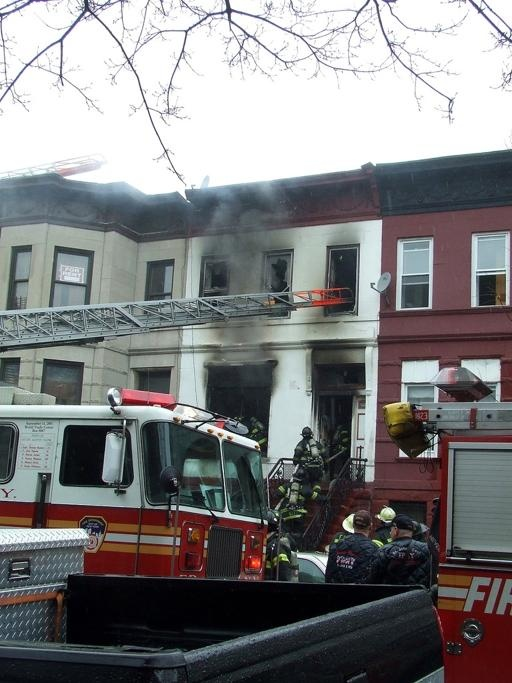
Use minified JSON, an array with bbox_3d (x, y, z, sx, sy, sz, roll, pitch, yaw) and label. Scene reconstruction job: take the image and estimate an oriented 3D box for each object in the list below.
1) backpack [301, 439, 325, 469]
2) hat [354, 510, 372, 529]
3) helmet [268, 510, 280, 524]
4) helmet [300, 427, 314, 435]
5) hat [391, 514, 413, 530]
[{"bbox_3d":[1.096,2.369,14.070,0.492,0.623,0.612,3,-9,-9],"label":"backpack"},{"bbox_3d":[0.934,1.528,5.819,0.144,0.189,0.189,3,-45,11],"label":"hat"},{"bbox_3d":[0.210,2.217,8.375,0.161,0.076,0.213,8,11,3],"label":"helmet"},{"bbox_3d":[1.113,1.964,14.630,0.205,0.129,0.213,-1,-5,-3],"label":"helmet"},{"bbox_3d":[1.211,1.492,5.523,0.160,0.113,0.112,-5,0,33],"label":"hat"}]
